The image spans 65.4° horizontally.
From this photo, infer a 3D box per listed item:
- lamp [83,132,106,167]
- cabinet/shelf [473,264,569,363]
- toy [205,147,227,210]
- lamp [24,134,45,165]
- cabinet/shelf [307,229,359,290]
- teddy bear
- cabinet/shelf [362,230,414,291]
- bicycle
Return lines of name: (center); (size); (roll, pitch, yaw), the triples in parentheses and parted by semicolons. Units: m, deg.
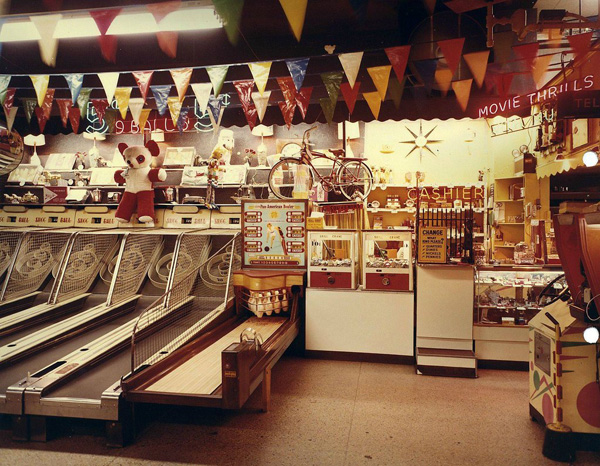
lamp: (-4.358, -1.788, 9.962); (0.623, 0.719, 0.357); (6, 15, 26)
cabinet/shelf: (2.642, 0.986, 5.578); (1.404, 1.340, 0.721); (0, 0, 5)
toy: (-1.499, -0.996, 8.236); (0.332, 1.017, 1.100); (-2, 13, -8)
lamp: (-5.811, -1.850, 10.238); (0.441, 0.636, 0.265); (1, 13, 7)
cabinet/shelf: (0.483, 0.236, 6.780); (0.701, 0.785, 1.286); (1, 13, 6)
teddy bear: (-2.709, -0.842, 7.902); (0.830, 1.420, 0.671); (-6, 14, -21)
cabinet/shelf: (1.217, 0.421, 6.624); (0.735, 0.926, 0.971); (0, -1, 2)
bicycle: (0.426, -1.159, 8.257); (1.928, 1.148, 1.043); (0, 8, -1)
